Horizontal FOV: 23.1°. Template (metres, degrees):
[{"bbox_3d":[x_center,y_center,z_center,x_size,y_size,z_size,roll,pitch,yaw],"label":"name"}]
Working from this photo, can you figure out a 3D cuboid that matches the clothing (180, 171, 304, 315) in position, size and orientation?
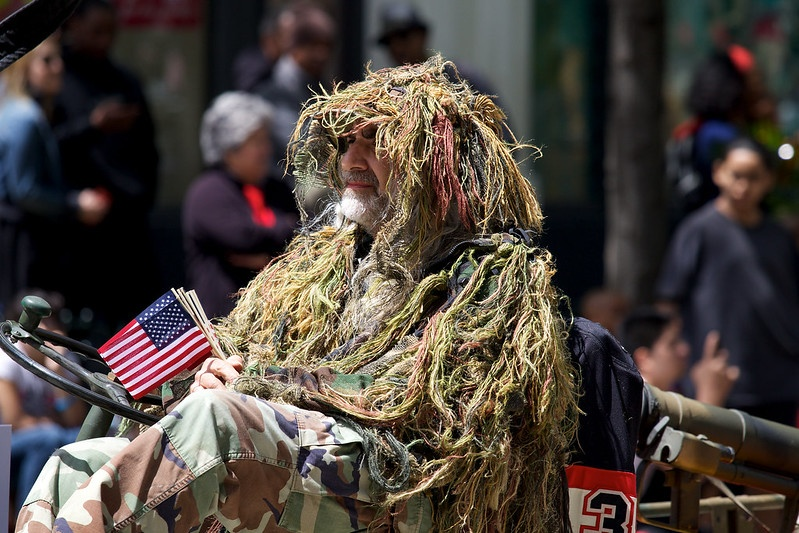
[{"bbox_3d":[-0.928,-0.171,11.774,0.785,1.140,0.902,0,-3,-5],"label":"clothing"}]
